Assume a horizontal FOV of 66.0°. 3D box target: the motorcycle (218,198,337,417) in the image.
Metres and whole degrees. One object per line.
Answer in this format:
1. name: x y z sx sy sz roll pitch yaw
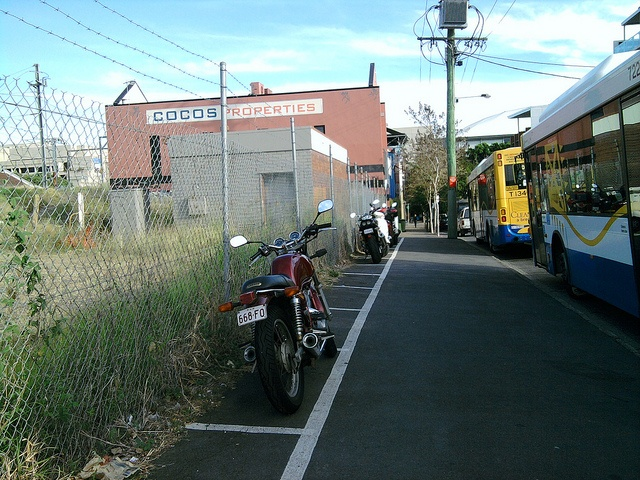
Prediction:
1. motorcycle: -0.369 0.698 5.306 0.816 1.997 1.743 -1 5 12

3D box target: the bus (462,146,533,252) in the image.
1. bus: 7.331 -1.859 19.316 1.915 2.988 6.037 -4 10 9

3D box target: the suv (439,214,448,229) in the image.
1. suv: 12.782 -1.755 50.936 0.943 0.978 2.279 -1 12 16

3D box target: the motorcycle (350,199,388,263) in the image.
1. motorcycle: 1.780 -0.273 16.766 1.069 2.057 1.940 -1 5 7
